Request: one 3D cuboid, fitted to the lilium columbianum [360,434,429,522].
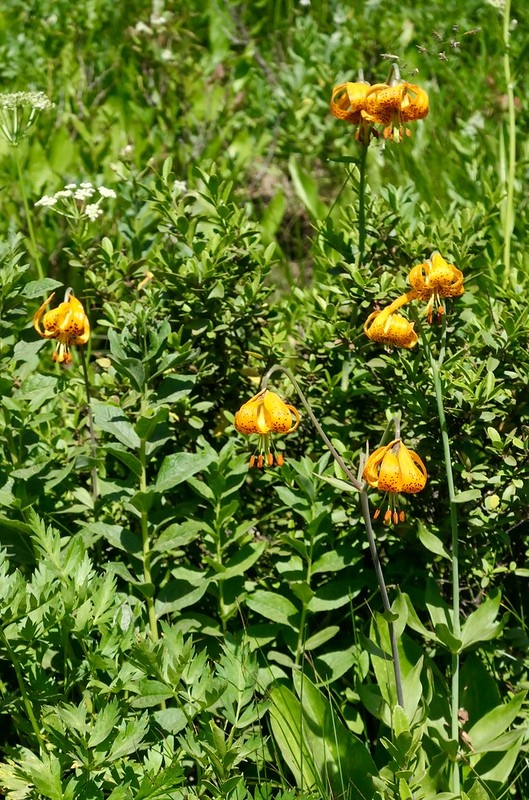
[{"bbox_3d":[0.218,0.139,1.381,0.098,0.138,0.088,5,1,-1],"label":"lilium columbianum"}]

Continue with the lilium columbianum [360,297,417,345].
[{"bbox_3d":[0.241,-0.153,1.572,0.090,0.116,0.195,-3,17,8],"label":"lilium columbianum"}]

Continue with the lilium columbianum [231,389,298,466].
[{"bbox_3d":[0.010,0.053,1.557,0.110,0.137,0.110,0,-4,44],"label":"lilium columbianum"}]

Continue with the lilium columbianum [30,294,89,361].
[{"bbox_3d":[-0.411,-0.151,1.679,0.095,0.149,0.083,-10,18,-13],"label":"lilium columbianum"}]

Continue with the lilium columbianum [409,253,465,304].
[{"bbox_3d":[0.334,-0.232,1.556,0.117,0.097,0.075,-17,20,-31],"label":"lilium columbianum"}]

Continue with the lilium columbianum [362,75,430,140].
[{"bbox_3d":[0.282,-0.636,1.820,0.145,0.134,0.127,-3,10,1],"label":"lilium columbianum"}]
